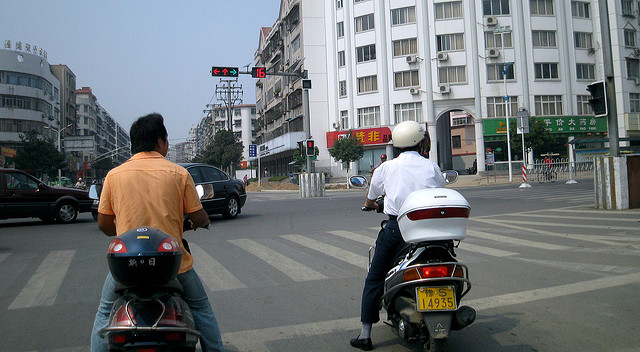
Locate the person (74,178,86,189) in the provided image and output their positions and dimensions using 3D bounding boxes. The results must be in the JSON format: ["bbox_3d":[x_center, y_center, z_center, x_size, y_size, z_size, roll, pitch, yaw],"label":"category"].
[{"bbox_3d":[-25.811,0.750,51.859,1.321,1.528,0.920,-1,-9,-40],"label":"person"}]

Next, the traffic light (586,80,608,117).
[{"bbox_3d":[9.997,-2.778,17.310,0.475,1.287,0.880,-1,10,3],"label":"traffic light"}]

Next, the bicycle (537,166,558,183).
[{"bbox_3d":[16.942,-0.079,36.379,2.026,1.239,0.985,0,0,-24],"label":"bicycle"}]

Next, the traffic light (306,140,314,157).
[{"bbox_3d":[-0.626,-1.770,29.825,0.433,0.913,0.323,-1,10,5],"label":"traffic light"}]

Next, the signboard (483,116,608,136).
[{"bbox_3d":[24.455,-5.343,50.880,14.634,2.043,1.430,-4,11,-16],"label":"signboard"}]

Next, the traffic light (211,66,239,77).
[{"bbox_3d":[-5.252,-5.755,26.610,1.369,0.536,0.457,-2,10,-6],"label":"traffic light"}]
